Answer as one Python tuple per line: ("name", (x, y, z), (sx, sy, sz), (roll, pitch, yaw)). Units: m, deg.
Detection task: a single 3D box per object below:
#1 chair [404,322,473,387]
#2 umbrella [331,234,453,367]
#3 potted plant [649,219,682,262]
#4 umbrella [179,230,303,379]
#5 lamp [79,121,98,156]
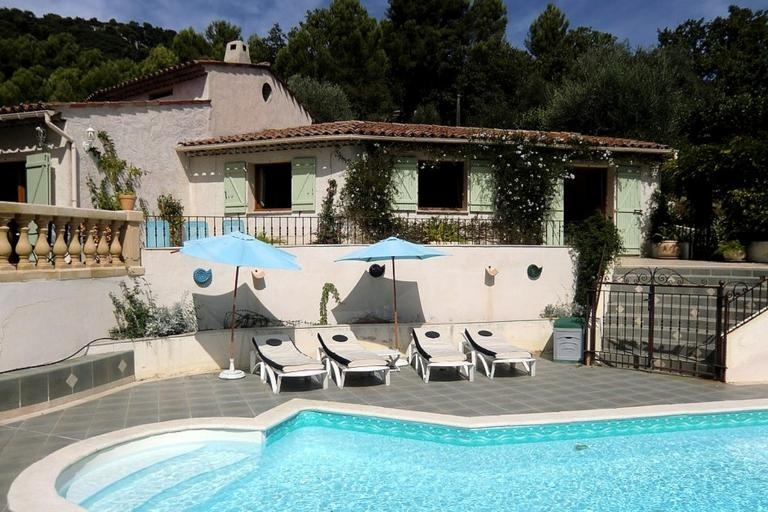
("chair", (1.522, 2.614, 17.806), (1.517, 1.175, 1.942), (0, 4, -6))
("umbrella", (0.063, 1.093, 18.809), (2.856, 2.914, 3.135), (-6, -1, -12))
("potted plant", (10.476, -0.586, 24.828), (1.016, 1.340, 1.132), (-1, 3, -13))
("umbrella", (-3.665, 1.141, 17.597), (3.282, 3.761, 3.458), (1, -3, 32))
("lamp", (-9.605, -3.794, 21.674), (0.477, 0.977, 0.668), (0, 4, -10))
